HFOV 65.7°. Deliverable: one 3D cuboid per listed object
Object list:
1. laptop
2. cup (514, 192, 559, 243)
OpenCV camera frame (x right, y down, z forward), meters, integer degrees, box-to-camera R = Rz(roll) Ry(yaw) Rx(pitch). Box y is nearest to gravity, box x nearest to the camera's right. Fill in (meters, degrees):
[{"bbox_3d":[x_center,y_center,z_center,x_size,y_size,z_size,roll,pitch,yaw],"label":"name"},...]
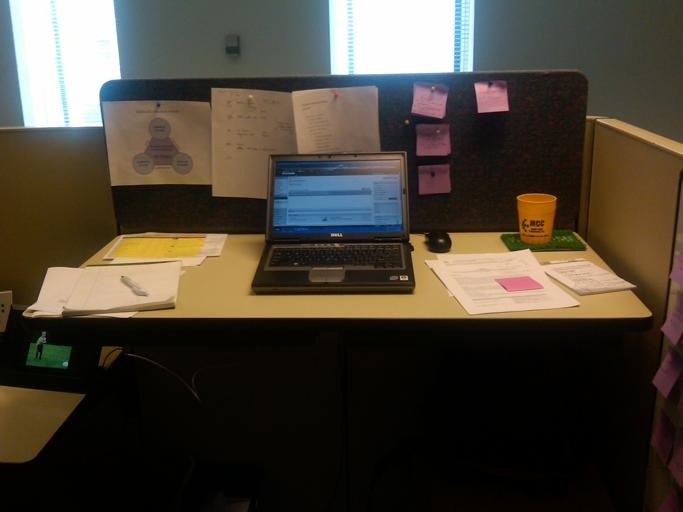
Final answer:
[{"bbox_3d":[-0.018,-0.064,1.437,0.425,0.268,0.392,0,33,2],"label":"laptop"},{"bbox_3d":[0.549,-0.115,1.571,0.137,0.162,0.136,-1,16,0],"label":"cup"}]
